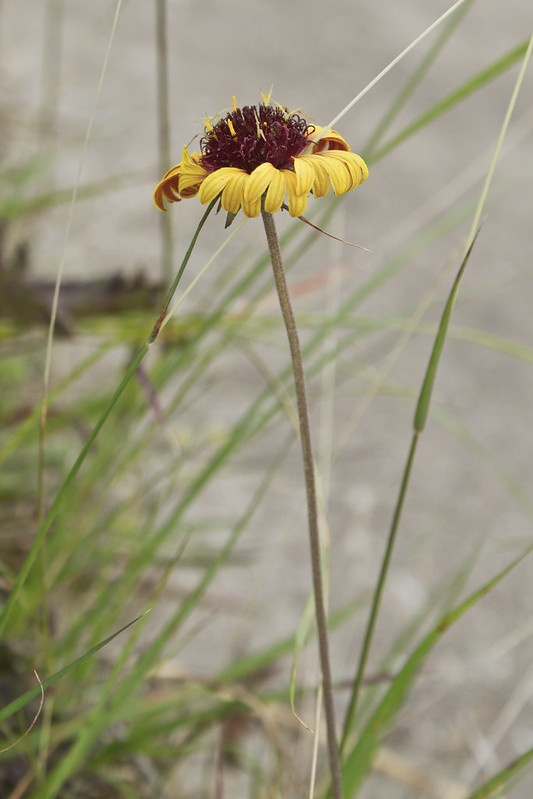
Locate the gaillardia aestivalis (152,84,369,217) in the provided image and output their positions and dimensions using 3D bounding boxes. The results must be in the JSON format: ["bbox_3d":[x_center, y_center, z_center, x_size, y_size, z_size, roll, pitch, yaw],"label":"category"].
[{"bbox_3d":[0.004,-0.133,0.473,0.092,0.091,0.045,-16,-87,4],"label":"gaillardia aestivalis"}]
